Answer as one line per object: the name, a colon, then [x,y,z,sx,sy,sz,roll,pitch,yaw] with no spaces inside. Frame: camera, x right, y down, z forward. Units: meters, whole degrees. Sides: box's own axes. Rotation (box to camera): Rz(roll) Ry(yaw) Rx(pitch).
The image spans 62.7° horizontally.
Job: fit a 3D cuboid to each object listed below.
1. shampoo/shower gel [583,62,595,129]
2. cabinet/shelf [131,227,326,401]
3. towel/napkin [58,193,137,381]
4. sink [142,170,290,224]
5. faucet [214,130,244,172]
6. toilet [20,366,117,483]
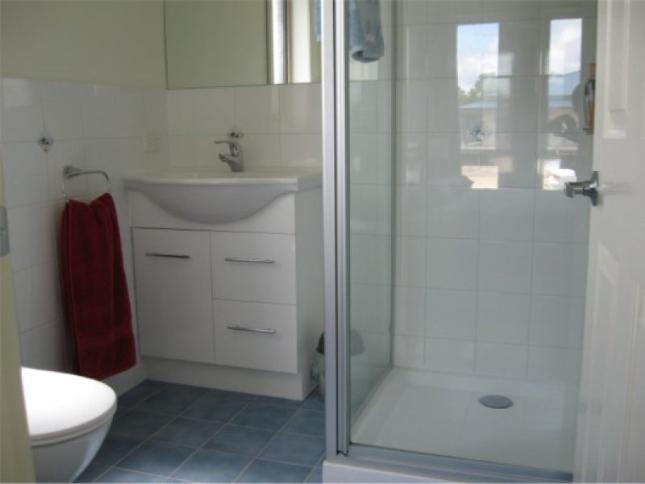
shampoo/shower gel: [0.796,-0.431,1.580,0.030,0.200,0.023,3,15,26]
cabinet/shelf: [-0.472,0.314,2.852,0.908,0.866,0.497,3,11,18]
towel/napkin: [-1.046,0.215,2.462,0.300,0.849,0.152,-14,17,-38]
sink: [-0.561,-0.201,2.536,0.927,0.245,0.097,1,14,19]
faucet: [-0.513,-0.508,2.951,0.151,0.222,0.180,-6,14,-10]
toilet: [-0.899,0.579,1.902,0.366,0.225,0.425,1,-2,-5]
